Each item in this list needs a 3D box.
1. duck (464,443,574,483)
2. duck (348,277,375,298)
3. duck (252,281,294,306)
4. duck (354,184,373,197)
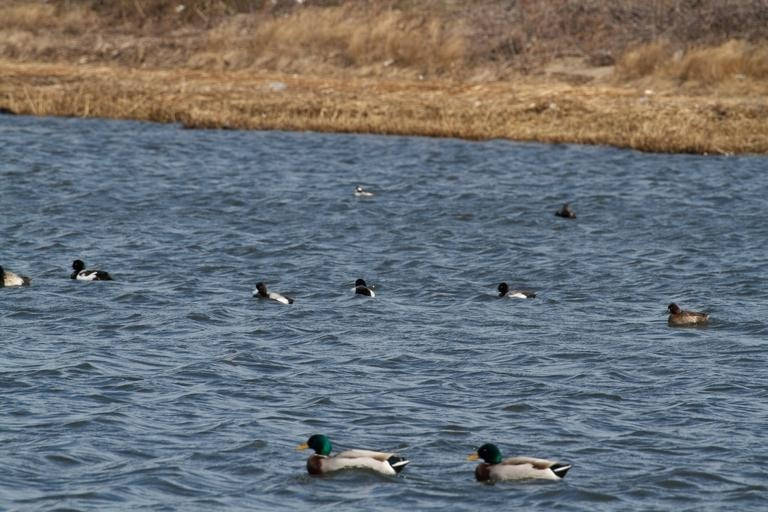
[{"bbox_3d":[4.610,7.398,48.219,3.169,1.094,0.962,3,36,9],"label":"duck"},{"bbox_3d":[-0.872,1.340,59.386,0.983,0.598,1.128,-4,33,-2],"label":"duck"},{"bbox_3d":[-4.623,1.669,58.953,1.734,0.905,0.856,5,-2,16],"label":"duck"},{"bbox_3d":[-0.940,-3.179,69.747,0.602,0.319,1.430,5,-7,31],"label":"duck"}]
